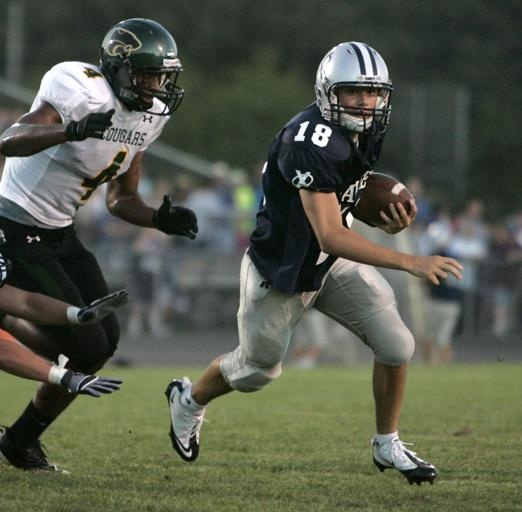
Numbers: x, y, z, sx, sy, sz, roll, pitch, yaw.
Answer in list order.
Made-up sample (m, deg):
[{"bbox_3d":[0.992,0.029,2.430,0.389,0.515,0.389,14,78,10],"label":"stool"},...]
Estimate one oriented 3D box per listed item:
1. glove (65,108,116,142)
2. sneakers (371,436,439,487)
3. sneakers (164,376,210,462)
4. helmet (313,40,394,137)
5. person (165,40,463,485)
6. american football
[{"bbox_3d":[-0.750,-0.569,4.251,0.203,0.140,0.204,0,0,30],"label":"glove"},{"bbox_3d":[0.654,0.913,4.425,0.374,0.168,0.137,12,21,38],"label":"sneakers"},{"bbox_3d":[-0.387,0.798,4.706,0.149,0.395,0.214,-5,-18,-44],"label":"sneakers"},{"bbox_3d":[0.410,-0.751,4.331,0.345,0.384,0.264,0,0,5],"label":"helmet"},{"bbox_3d":[0.245,0.026,4.403,1.340,1.836,0.646,0,0,15],"label":"person"},{"bbox_3d":[0.546,-0.273,4.635,0.300,0.204,0.162,26,-11,6],"label":"american football"}]
